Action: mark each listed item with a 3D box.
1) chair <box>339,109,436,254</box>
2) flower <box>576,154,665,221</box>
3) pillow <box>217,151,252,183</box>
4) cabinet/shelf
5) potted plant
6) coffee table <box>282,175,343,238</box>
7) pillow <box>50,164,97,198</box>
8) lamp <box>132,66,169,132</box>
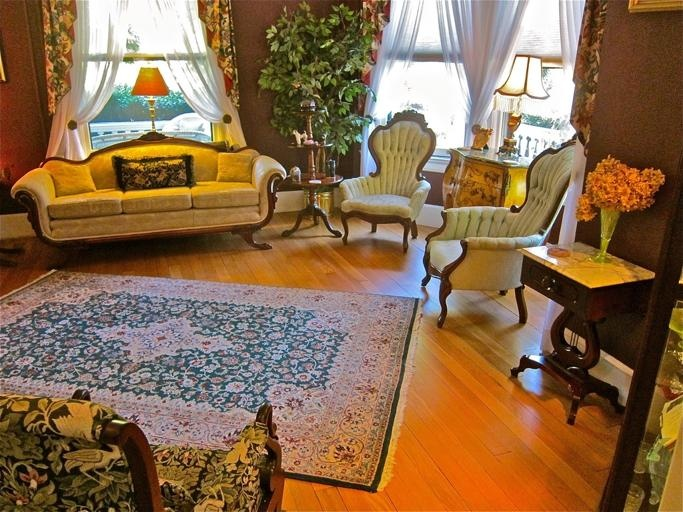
[{"bbox_3d":[0.513,-0.906,5.294,0.983,1.457,0.994,6,20,10],"label":"chair"},{"bbox_3d":[1.527,-0.357,2.537,0.322,0.344,0.293,-1,20,-11],"label":"flower"},{"bbox_3d":[-1.240,-1.031,5.394,0.370,0.331,0.124,1,-11,-2],"label":"pillow"},{"bbox_3d":[1.461,-0.787,4.641,0.445,0.573,0.625,-17,32,-30],"label":"cabinet/shelf"},{"bbox_3d":[-0.311,-2.295,6.629,2.222,2.968,1.920,-2,23,-5],"label":"potted plant"},{"bbox_3d":[-0.324,-0.674,5.705,0.765,0.648,0.762,-6,22,-18],"label":"coffee table"},{"bbox_3d":[-2.798,-0.797,4.837,0.388,0.276,0.311,-9,22,-30],"label":"pillow"},{"bbox_3d":[-2.145,-1.777,5.264,0.557,0.689,0.535,-1,20,-11],"label":"lamp"}]
